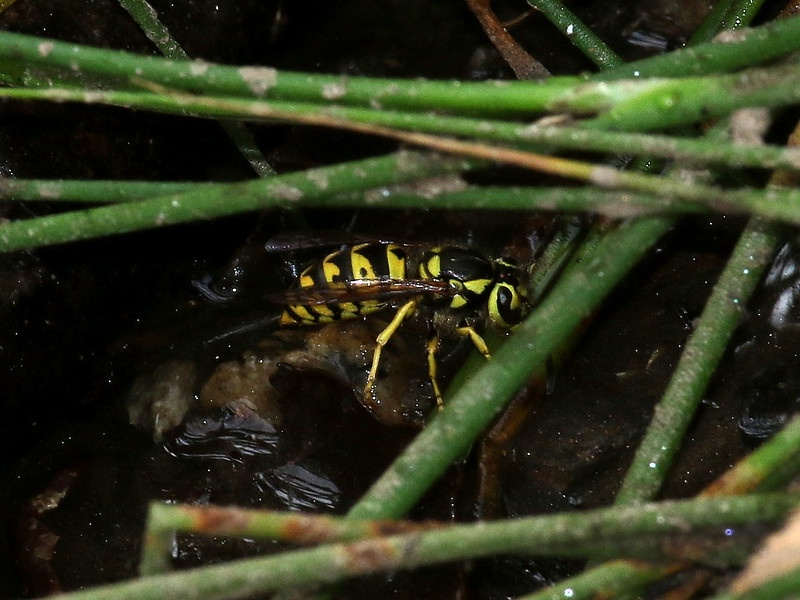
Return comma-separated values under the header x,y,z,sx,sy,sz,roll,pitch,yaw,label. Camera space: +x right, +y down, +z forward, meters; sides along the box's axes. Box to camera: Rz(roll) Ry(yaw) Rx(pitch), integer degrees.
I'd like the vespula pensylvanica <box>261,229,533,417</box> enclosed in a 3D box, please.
x,y,z,sx,sy,sz,roll,pitch,yaw,label
-0.036,0.034,1.914,0.502,0.343,0.150,2,-60,-15,vespula pensylvanica
